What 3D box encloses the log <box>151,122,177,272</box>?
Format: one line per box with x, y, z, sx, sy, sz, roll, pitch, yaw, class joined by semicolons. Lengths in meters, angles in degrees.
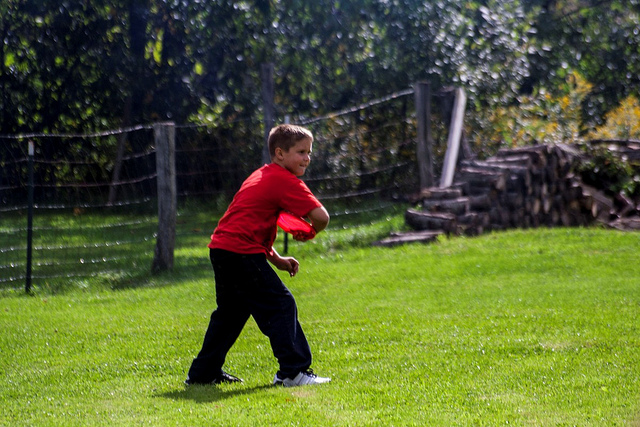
-2.807;-0.313;21.992;0.382;2.657;0.298;0;1;-13;log

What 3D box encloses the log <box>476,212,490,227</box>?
3.091;0.079;23.601;0.194;0.148;0.271;-3;32;-3;log

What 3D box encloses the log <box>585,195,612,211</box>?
5.505;-0.246;24.829;0.337;0.120;0.331;39;-19;-30;log

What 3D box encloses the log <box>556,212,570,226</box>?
4.856;0.070;24.748;0.185;0.299;0.074;2;-1;-13;log

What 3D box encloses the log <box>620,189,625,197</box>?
6.088;-0.462;25.013;0.113;0.132;0.030;-5;-6;22;log

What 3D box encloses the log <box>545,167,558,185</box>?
4.563;-0.792;24.525;0.065;0.335;0.356;1;1;42;log

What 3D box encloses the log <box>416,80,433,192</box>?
2.063;-1.619;24.751;0.325;2.158;0.307;0;1;-17;log

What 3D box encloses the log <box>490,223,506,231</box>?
3.407;0.206;23.788;0.346;0.120;0.092;0;1;-32;log

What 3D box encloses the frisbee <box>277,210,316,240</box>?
-0.373;0.152;18.158;0.595;0.340;0.146;38;39;6;frisbee

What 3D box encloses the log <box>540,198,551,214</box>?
4.412;-0.187;24.436;0.175;0.201;0.270;0;46;6;log

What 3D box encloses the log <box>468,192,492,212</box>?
3.050;-0.244;23.687;0.383;0.344;0.364;-9;-25;3;log

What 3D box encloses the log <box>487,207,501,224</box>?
3.327;-0.013;23.788;0.243;0.473;0.304;0;1;27;log

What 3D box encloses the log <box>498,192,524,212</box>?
3.665;-0.295;23.954;0.528;0.429;0.319;1;-6;-2;log

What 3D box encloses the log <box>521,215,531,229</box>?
3.989;0.116;24.149;0.177;0.378;0.243;0;1;13;log

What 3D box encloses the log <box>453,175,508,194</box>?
3.078;-0.685;24.094;1.064;0.356;0.333;8;1;32;log

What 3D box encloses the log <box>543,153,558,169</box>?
4.555;-1.122;24.495;0.219;0.331;0.109;-15;14;-26;log

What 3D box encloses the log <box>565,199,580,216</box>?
5.052;-0.177;24.852;0.254;0.297;0.072;0;2;-12;log

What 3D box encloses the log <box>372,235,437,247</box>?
1.539;0.474;23.018;1.198;0.236;0.378;1;1;6;log

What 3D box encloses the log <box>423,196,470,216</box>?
2.388;-0.179;23.655;0.871;0.327;0.229;1;1;4;log
